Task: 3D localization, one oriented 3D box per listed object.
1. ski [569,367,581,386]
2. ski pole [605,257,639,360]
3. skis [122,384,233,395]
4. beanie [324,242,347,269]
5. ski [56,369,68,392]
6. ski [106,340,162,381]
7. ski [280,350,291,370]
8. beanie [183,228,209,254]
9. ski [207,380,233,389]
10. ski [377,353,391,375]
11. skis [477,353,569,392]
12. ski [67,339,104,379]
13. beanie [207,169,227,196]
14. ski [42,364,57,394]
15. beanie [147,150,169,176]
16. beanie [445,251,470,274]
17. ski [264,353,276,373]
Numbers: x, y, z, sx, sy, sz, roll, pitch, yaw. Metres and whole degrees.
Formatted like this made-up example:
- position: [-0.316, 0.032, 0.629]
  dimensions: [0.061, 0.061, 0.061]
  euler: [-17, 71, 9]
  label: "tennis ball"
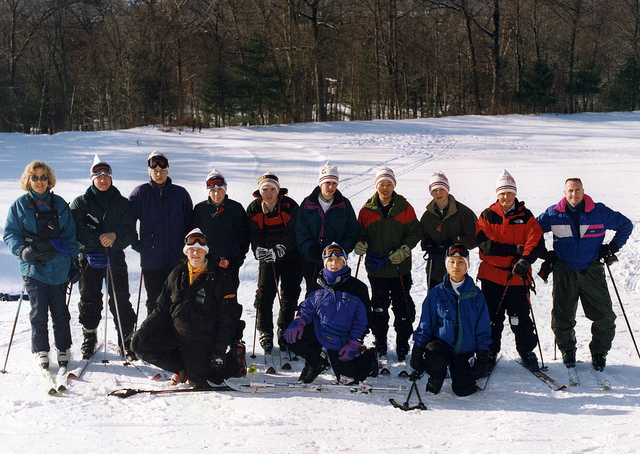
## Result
- position: [5.145, 3.056, 16.207]
  dimensions: [0.131, 0.009, 0.440]
  euler: [-16, 19, 13]
  label: "ski"
- position: [6.592, 1.868, 17.479]
  dimensions: [0.061, 2.254, 0.095]
  euler: [-22, -9, 19]
  label: "ski pole"
- position: [-2.950, 3.250, 16.016]
  dimensions: [1.933, 0.141, 0.276]
  euler: [-2, 3, -3]
  label: "skis"
- position: [0.308, 0.599, 16.229]
  dimensions: [0.385, 0.516, 0.162]
  euler: [-2, 0, 1]
  label: "beanie"
- position: [-5.167, 3.107, 16.064]
  dimensions: [0.141, 0.455, 0.180]
  euler: [6, -31, -27]
  label: "ski"
- position: [-3.753, 2.760, 16.340]
  dimensions: [1.196, 0.185, 0.143]
  euler: [37, 42, 19]
  label: "ski"
- position: [-0.729, 2.808, 16.832]
  dimensions: [0.220, 0.298, 0.497]
  euler: [-1, 3, -3]
  label: "ski"
- position: [-2.478, 0.307, 16.057]
  dimensions: [0.368, 0.554, 0.191]
  euler: [4, 3, -7]
  label: "beanie"
- position: [-2.051, 3.194, 16.127]
  dimensions: [0.445, 0.072, 0.085]
  euler: [14, 36, -19]
  label: "ski"
- position: [1.340, 2.895, 16.676]
  dimensions: [0.256, 0.287, 0.444]
  euler: [-1, 3, 4]
  label: "ski"
- position: [4.112, 3.009, 16.270]
  dimensions: [0.194, 0.237, 1.593]
  euler: [-31, 38, -29]
  label: "skis"
- position: [-4.778, 2.686, 16.736]
  dimensions: [0.188, 0.211, 1.421]
  euler: [-6, 34, 33]
  label: "ski"
- position: [-2.196, -0.968, 17.034]
  dimensions: [0.403, 0.614, 0.209]
  euler: [-3, 9, 1]
  label: "beanie"
- position: [-5.440, 3.078, 16.065]
  dimensions: [0.202, 0.712, 0.275]
  euler: [-17, -22, -16]
  label: "ski"
- position: [-3.466, -1.299, 17.009]
  dimensions: [0.436, 0.666, 0.321]
  euler: [-1, 4, -4]
  label: "beanie"
- position: [2.760, 0.710, 16.122]
  dimensions: [0.363, 0.443, 0.152]
  euler: [0, -5, 13]
  label: "beanie"
- position: [-1.046, 2.873, 16.704]
  dimensions: [0.164, 0.207, 1.003]
  euler: [-1, 9, -5]
  label: "ski"
